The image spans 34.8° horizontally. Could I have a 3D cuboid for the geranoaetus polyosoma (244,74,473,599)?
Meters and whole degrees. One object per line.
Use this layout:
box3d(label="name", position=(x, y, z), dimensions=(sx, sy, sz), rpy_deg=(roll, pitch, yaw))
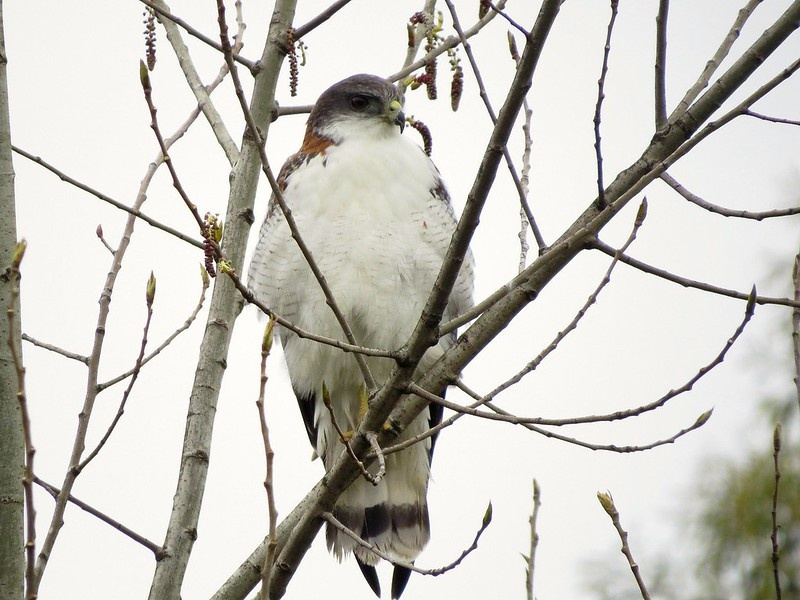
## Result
box3d(label="geranoaetus polyosoma", position=(-0.138, 0.213, 5.901), dimensions=(1.010, 2.646, 1.589), rpy_deg=(0, -54, -12))
